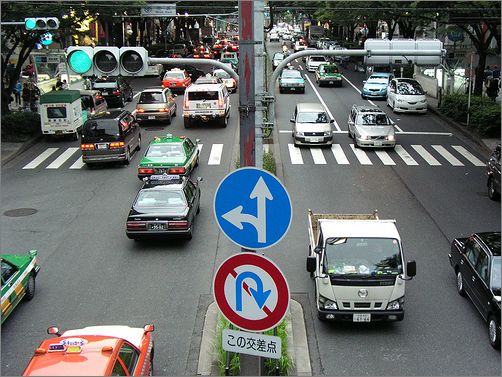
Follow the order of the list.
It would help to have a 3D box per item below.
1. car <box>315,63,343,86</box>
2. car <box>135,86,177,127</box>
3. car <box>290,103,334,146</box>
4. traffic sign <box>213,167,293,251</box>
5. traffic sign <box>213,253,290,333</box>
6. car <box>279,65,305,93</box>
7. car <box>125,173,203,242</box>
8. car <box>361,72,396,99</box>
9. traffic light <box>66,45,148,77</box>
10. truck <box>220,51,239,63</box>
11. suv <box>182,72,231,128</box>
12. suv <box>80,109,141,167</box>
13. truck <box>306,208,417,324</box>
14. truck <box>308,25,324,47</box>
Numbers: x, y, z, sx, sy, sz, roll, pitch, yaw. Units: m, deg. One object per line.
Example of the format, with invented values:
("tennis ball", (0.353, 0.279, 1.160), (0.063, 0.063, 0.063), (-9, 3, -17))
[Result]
("car", (7.832, -11.626, 43.219), (1.571, 1.561, 2.888), (-1, 22, 0))
("car", (-6.792, -5.783, 29.842), (2.287, 2.472, 2.668), (-2, 25, 5))
("car", (3.633, -3.725, 25.550), (2.208, 1.878, 2.637), (-2, 25, 5))
("traffic sign", (0.013, 0.203, 4.552), (0.834, 0.855, 0.358), (-2, 23, 5))
("traffic sign", (-0.001, 1.057, 4.359), (0.833, 1.005, 0.066), (4, 22, 10))
("car", (3.816, -10.006, 39.863), (2.379, 1.828, 2.506), (-2, 25, 6))
("car", (-3.122, 0.586, 15.958), (2.047, 1.867, 5.397), (-1, 13, -2))
("car", (11.838, -9.421, 39.044), (2.351, 2.371, 5.092), (9, 17, 27))
("traffic light", (-2.633, -2.332, 7.765), (1.335, 0.552, 0.393), (-3, 18, -12))
("truck", (-2.724, -16.496, 52.785), (1.595, 1.601, 3.041), (-1, 17, 0))
("suv", (-3.006, -5.912, 29.636), (2.595, 3.101, 4.313), (-3, 25, 3))
("suv", (-7.616, -2.999, 23.573), (2.366, 2.778, 4.821), (-4, 18, 0))
("truck", (2.641, 2.012, 10.899), (2.214, 2.097, 2.895), (-2, 25, 5))
("truck", (14.148, -32.083, 90.544), (3.920, 4.391, 7.608), (1, 23, 3))
